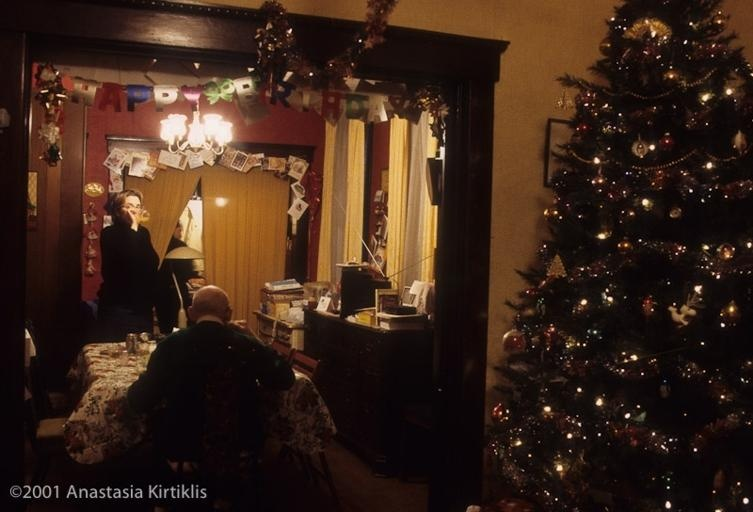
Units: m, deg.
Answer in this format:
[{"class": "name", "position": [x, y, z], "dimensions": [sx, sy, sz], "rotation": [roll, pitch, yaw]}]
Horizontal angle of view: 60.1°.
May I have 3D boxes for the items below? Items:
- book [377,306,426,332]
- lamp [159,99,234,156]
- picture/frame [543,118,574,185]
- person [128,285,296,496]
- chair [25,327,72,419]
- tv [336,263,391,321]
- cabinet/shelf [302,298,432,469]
[{"class": "book", "position": [0.194, 0.451, 4.712], "dimensions": [0.219, 0.106, 0.214], "rotation": [-1, 3, -32]}, {"class": "lamp", "position": [-1.637, -1.163, 5.811], "dimensions": [0.690, 0.497, 0.728], "rotation": [-1, 3, -25]}, {"class": "picture/frame", "position": [1.106, -0.632, 3.924], "dimensions": [0.169, 0.409, 0.280], "rotation": [7, 3, 1]}, {"class": "person", "position": [-0.946, 0.834, 3.882], "dimensions": [0.862, 1.304, 0.707], "rotation": [3, 23, -9]}, {"class": "chair", "position": [-2.093, 0.810, 4.240], "dimensions": [0.259, 0.381, 0.261], "rotation": [-4, -8, -34]}, {"class": "tv", "position": [-0.153, 0.248, 5.304], "dimensions": [0.510, 0.515, 0.374], "rotation": [1, -3, -25]}, {"class": "cabinet/shelf", "position": [-0.034, 0.964, 4.766], "dimensions": [0.477, 0.899, 1.251], "rotation": [1, 2, -21]}]
